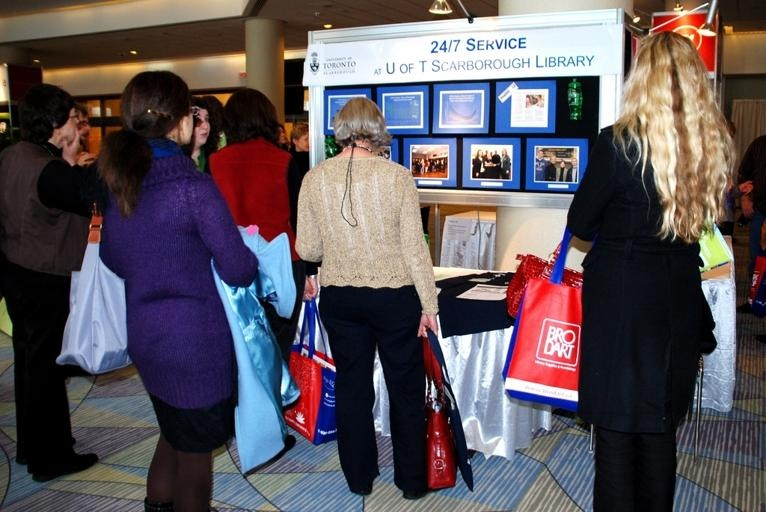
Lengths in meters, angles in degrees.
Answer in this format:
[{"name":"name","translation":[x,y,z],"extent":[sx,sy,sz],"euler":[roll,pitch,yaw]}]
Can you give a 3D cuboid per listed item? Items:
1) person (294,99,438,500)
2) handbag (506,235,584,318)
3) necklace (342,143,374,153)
[{"name":"person","translation":[-0.080,0.249,2.790],"extent":[0.680,2.014,0.303],"euler":[0,9,2]},{"name":"handbag","translation":[0.805,0.098,2.764],"extent":[0.312,0.315,0.126],"euler":[26,13,0]},{"name":"necklace","translation":[-0.116,-0.511,2.656],"extent":[0.138,0.043,0.052],"euler":[1,10,6]}]
